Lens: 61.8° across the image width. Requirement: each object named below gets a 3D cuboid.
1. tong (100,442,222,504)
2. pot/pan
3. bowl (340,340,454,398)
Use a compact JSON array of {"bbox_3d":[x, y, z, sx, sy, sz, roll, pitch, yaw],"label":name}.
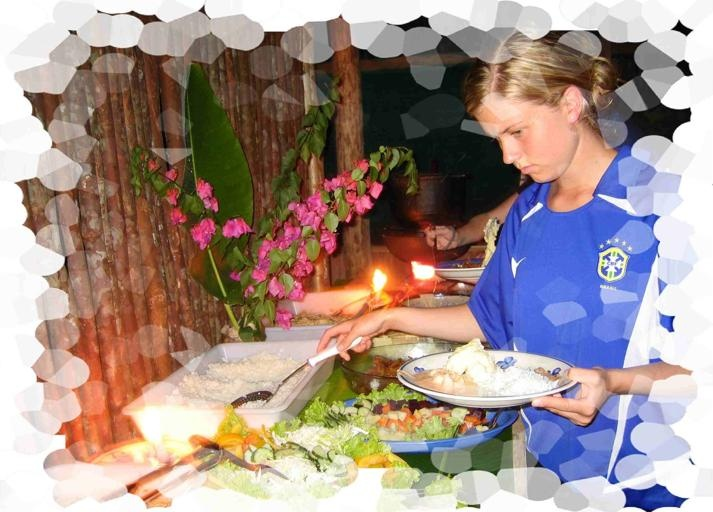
[{"bbox_3d":[-0.609,0.697,1.910,0.097,0.095,0.366,3,12,33],"label":"tong"},{"bbox_3d":[0.598,-0.070,4.976,0.788,0.295,0.779,1,7,4],"label":"pot/pan"},{"bbox_3d":[0.173,0.474,2.773,0.331,0.113,0.335,-15,3,1],"label":"bowl"}]
